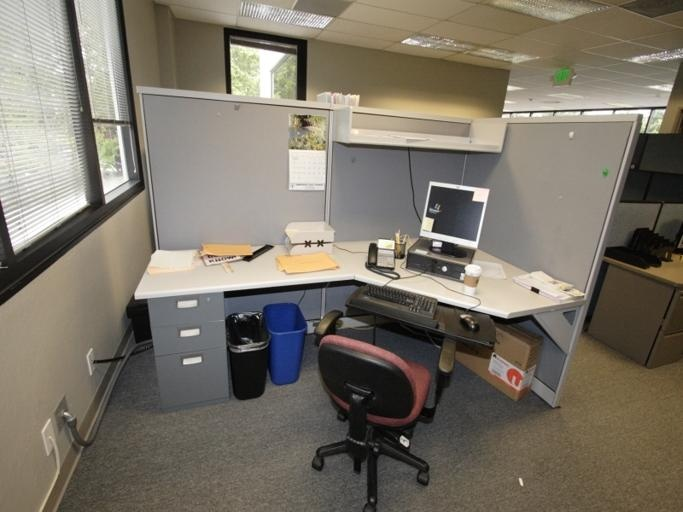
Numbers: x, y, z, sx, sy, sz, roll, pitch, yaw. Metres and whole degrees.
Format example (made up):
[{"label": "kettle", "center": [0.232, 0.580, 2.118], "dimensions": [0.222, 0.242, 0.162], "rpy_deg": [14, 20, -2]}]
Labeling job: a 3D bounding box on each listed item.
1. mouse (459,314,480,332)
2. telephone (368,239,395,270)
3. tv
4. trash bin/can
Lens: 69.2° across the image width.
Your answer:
[{"label": "mouse", "center": [0.792, 0.405, 3.039], "dimensions": [0.089, 0.057, 0.144], "rpy_deg": [-5, 23, -19]}, {"label": "telephone", "center": [0.293, -0.036, 3.532], "dimensions": [0.157, 0.081, 0.234], "rpy_deg": [2, 31, 7]}, {"label": "tv", "center": [0.817, -0.245, 3.530], "dimensions": [0.481, 0.522, 0.035], "rpy_deg": [13, 12, 30]}, {"label": "trash bin/can", "center": [-0.555, 0.667, 3.595], "dimensions": [0.659, 0.513, 0.480], "rpy_deg": [-3, 10, -20]}]
